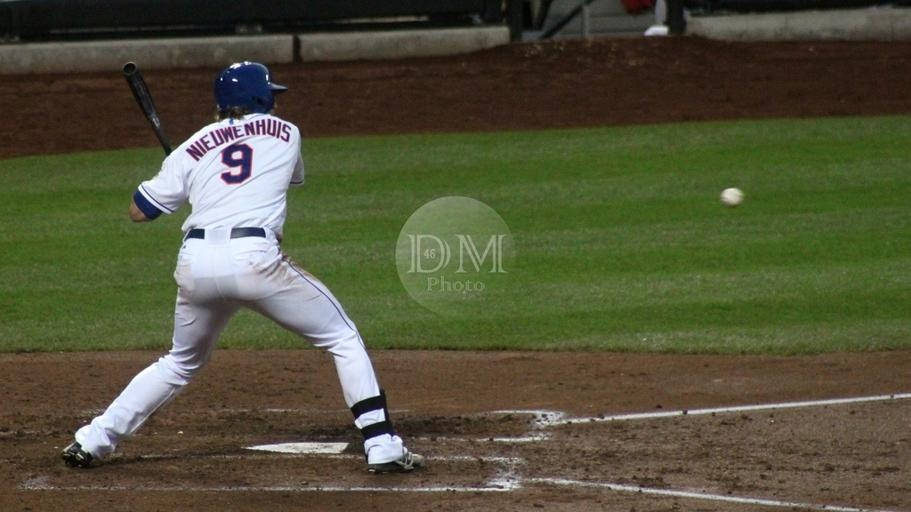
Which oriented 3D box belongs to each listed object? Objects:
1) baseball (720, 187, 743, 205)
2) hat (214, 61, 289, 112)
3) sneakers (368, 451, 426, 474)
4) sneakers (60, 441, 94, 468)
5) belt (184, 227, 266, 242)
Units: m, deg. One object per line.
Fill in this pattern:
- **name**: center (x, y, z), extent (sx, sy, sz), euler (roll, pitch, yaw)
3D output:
- **baseball**: center (3.711, -0.786, 28.114), extent (0.301, 0.123, 0.224), euler (-2, 52, 9)
- **hat**: center (-2.565, -1.975, 24.763), extent (0.919, 0.485, 0.579), euler (5, -2, -22)
- **sneakers**: center (-0.686, 2.432, 24.741), extent (0.730, 0.234, 0.241), euler (-3, 8, -11)
- **sneakers**: center (-4.454, 2.347, 24.686), extent (0.426, 0.258, 0.148), euler (-16, 35, 19)
- **belt**: center (-2.707, -0.255, 24.464), extent (0.956, 0.142, 0.105), euler (-1, 26, 1)
